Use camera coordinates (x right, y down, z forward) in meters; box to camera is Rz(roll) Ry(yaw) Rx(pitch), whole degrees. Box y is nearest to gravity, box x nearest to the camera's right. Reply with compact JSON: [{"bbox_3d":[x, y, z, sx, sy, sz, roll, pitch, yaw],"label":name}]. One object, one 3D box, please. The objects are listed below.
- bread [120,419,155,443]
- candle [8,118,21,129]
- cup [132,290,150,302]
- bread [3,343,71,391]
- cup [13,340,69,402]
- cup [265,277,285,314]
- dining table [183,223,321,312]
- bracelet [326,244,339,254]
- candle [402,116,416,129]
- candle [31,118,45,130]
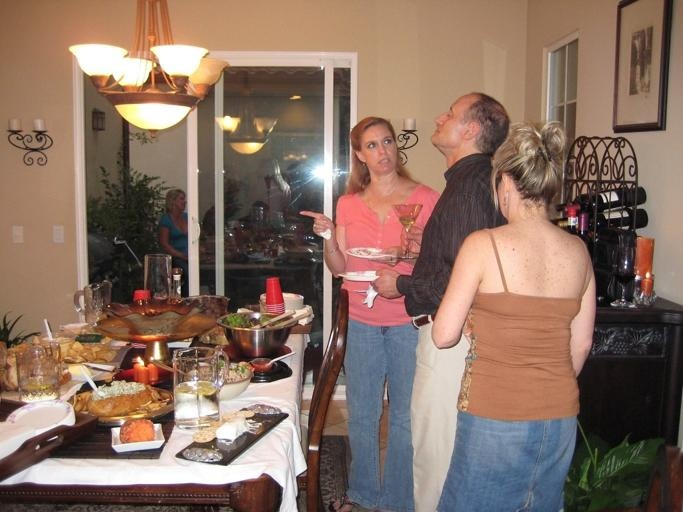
[{"bbox_3d":[-0.648,0.545,1.790,0.072,0.020,0.073,-21,38,-40],"label":"bread"},{"bbox_3d":[-2.475,-0.996,4.351,0.089,0.093,0.087,-1,-1,-1],"label":"candle"},{"bbox_3d":[-0.990,0.193,2.803,0.094,0.062,0.093,2,-3,0],"label":"cup"},{"bbox_3d":[-1.078,0.389,2.052,0.235,0.199,0.180,3,0,-30],"label":"bread"},{"bbox_3d":[-1.038,0.401,1.973,0.137,0.216,0.218,0,-1,8],"label":"cup"},{"bbox_3d":[-0.335,0.197,2.798,0.142,0.199,0.146,-1,-4,0],"label":"cup"},{"bbox_3d":[-0.698,0.077,5.296,1.261,0.662,1.174,1,0,-1],"label":"dining table"},{"bbox_3d":[-0.051,-0.039,3.072,0.053,0.049,0.050,0,-3,2],"label":"bracelet"},{"bbox_3d":[0.516,-1.005,4.341,0.092,0.082,0.091,1,0,6],"label":"candle"},{"bbox_3d":[-2.325,-1.010,4.394,0.086,0.093,0.085,-1,-1,1],"label":"candle"}]
